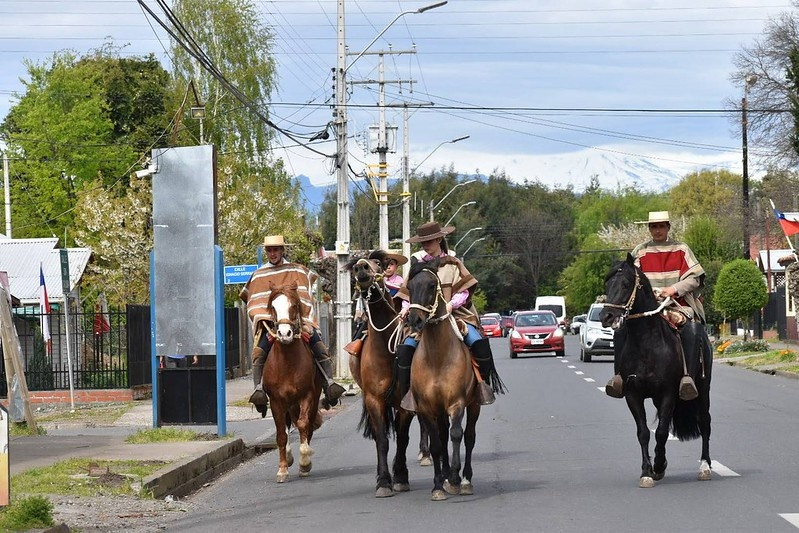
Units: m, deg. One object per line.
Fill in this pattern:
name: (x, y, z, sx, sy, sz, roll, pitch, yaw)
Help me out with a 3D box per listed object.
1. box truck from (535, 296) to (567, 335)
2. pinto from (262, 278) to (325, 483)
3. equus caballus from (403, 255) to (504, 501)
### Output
box truck: (9.677, 3.129, 82.103, 1.883, 1.967, 3.408, 0, 2, 10)
pinto: (-2.818, 2.150, 24.800, 1.395, 3.441, 3.231, 1, -1, -1)
equus caballus: (0.873, 2.482, 23.878, 1.619, 4.079, 5.718, -4, -15, 9)
